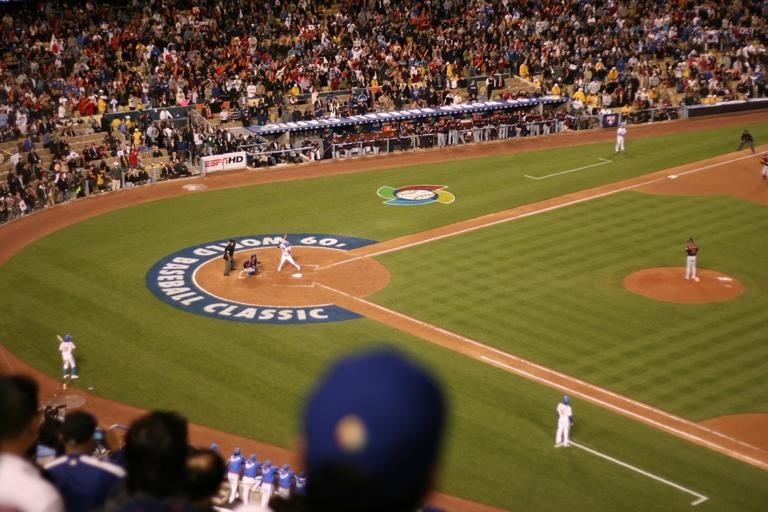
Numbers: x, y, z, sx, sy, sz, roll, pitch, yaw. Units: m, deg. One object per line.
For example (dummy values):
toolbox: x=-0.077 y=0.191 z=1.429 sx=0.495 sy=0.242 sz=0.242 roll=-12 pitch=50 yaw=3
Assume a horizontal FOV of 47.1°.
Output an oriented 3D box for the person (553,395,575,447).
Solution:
person: x=7.002 y=6.318 z=35.133 sx=0.642 sy=2.061 sz=1.518 roll=1 pitch=17 yaw=13

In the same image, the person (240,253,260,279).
person: x=-7.080 y=0.432 z=46.089 sx=0.954 sy=1.144 sz=1.323 roll=-6 pitch=17 yaw=-10

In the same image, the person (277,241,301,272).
person: x=-5.183 y=-0.098 z=46.433 sx=1.208 sy=1.670 sz=0.750 roll=-7 pitch=54 yaw=1
